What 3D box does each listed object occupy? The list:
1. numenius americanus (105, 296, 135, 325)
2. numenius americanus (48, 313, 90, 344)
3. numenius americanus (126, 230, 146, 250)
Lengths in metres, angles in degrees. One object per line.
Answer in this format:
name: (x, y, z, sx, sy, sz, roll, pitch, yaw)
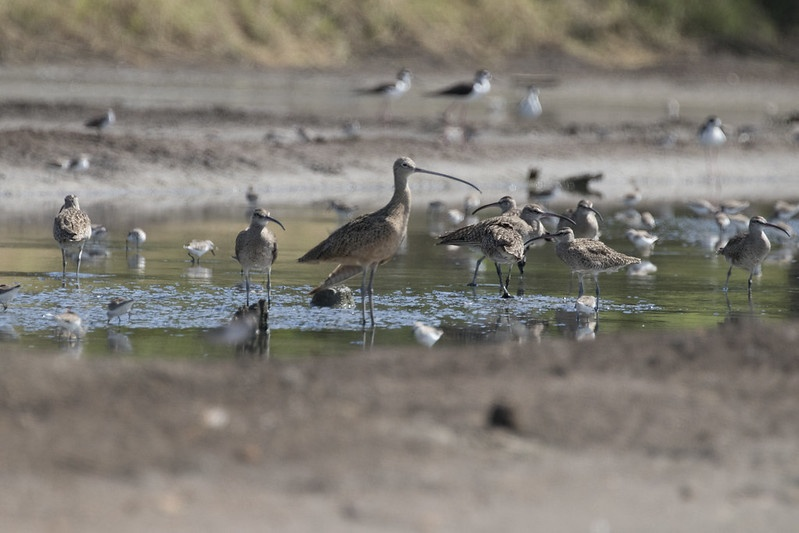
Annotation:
numenius americanus: (-5.545, 0.841, 25.599, 0.499, 0.462, 0.696, -2, 11, -12)
numenius americanus: (-6.296, 1.037, 24.631, 0.830, 0.556, 0.415, 32, 30, 25)
numenius americanus: (-6.723, -0.715, 32.945, 0.616, 0.349, 0.562, -3, 4, 2)
